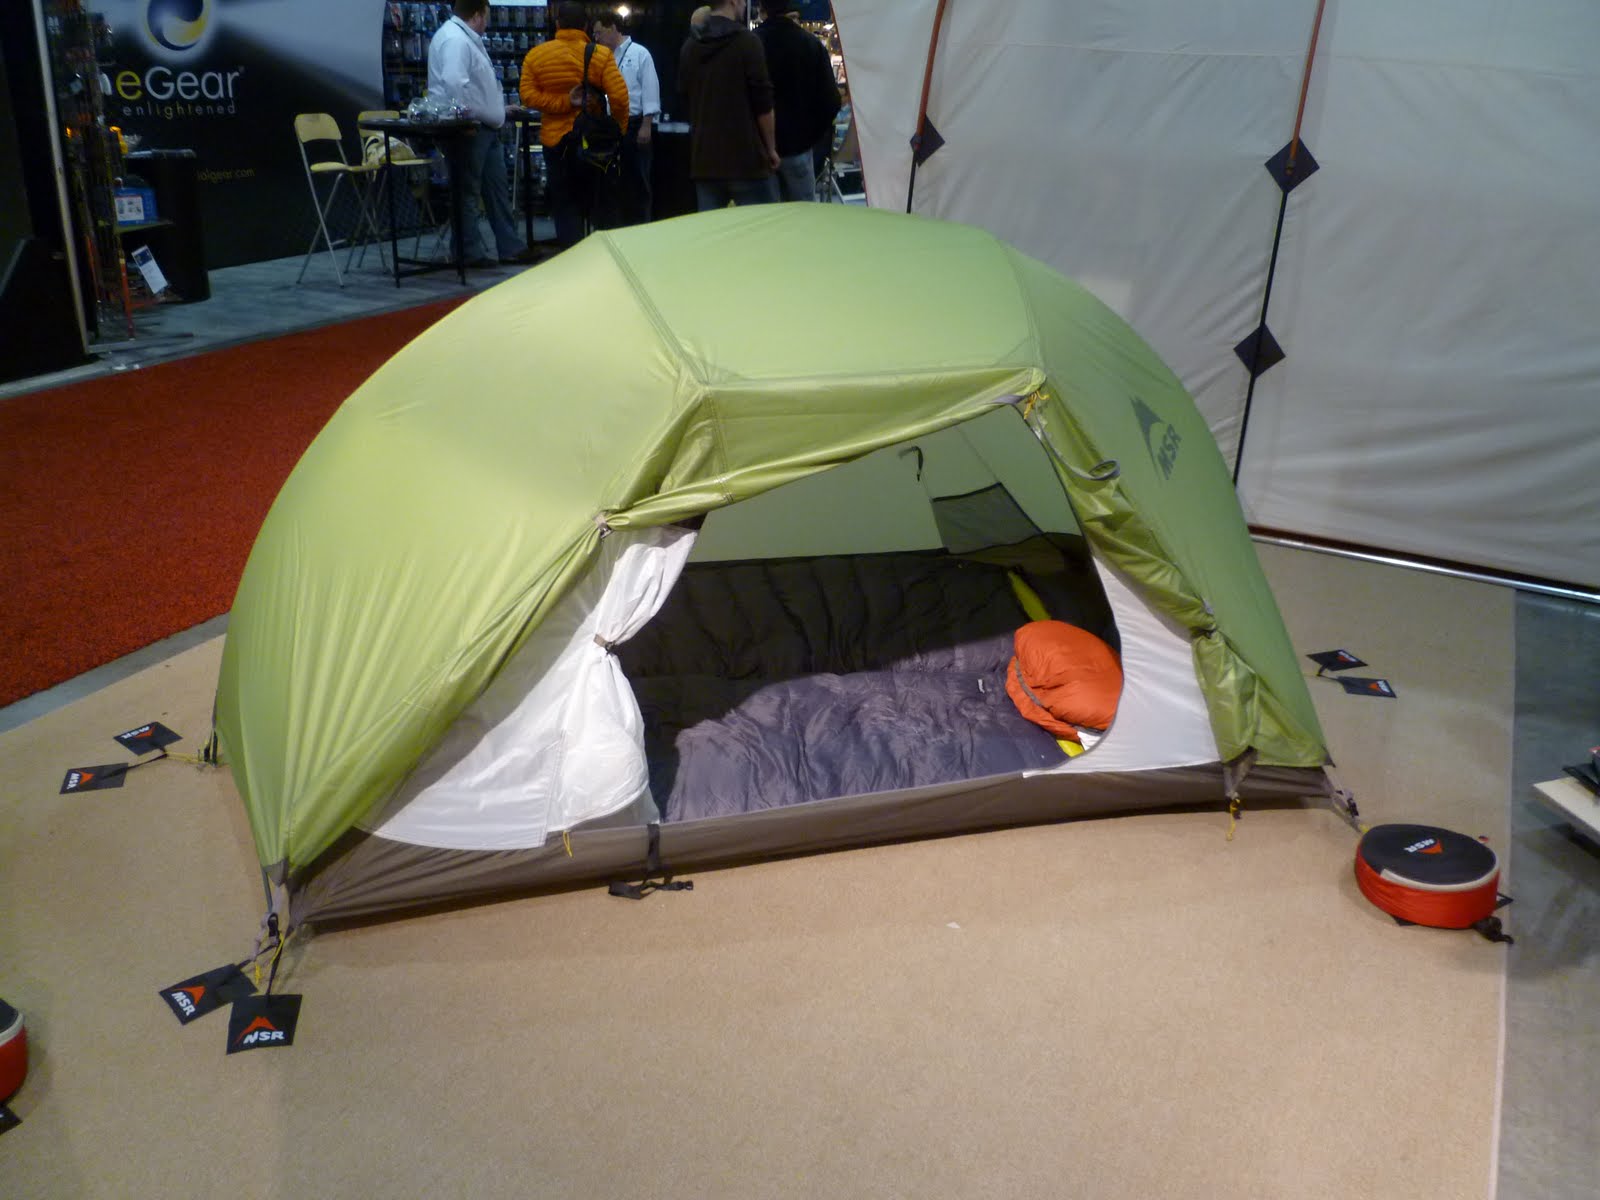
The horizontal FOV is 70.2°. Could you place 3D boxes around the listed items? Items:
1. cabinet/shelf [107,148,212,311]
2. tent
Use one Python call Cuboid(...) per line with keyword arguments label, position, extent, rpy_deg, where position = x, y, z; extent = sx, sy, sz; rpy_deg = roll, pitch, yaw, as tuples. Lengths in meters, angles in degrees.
Cuboid(label="cabinet/shelf", position=(-4.541, -2.598, 8.127), extent=(0.535, 1.007, 0.858), rpy_deg=(-11, 28, -26))
Cuboid(label="tent", position=(-0.177, -0.293, 3.787), extent=(3.216, 1.766, 1.721), rpy_deg=(-3, 25, -10))
